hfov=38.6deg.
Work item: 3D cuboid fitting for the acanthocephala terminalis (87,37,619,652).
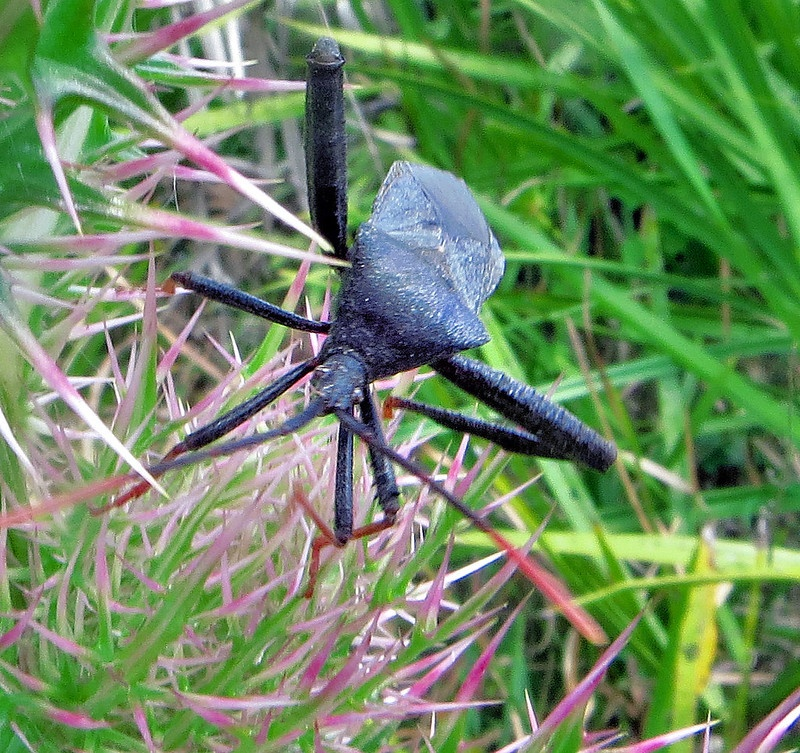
[{"bbox_3d":[-0.021,-0.031,0.998,0.436,0.180,0.487,53,42,-14],"label":"acanthocephala terminalis"}]
